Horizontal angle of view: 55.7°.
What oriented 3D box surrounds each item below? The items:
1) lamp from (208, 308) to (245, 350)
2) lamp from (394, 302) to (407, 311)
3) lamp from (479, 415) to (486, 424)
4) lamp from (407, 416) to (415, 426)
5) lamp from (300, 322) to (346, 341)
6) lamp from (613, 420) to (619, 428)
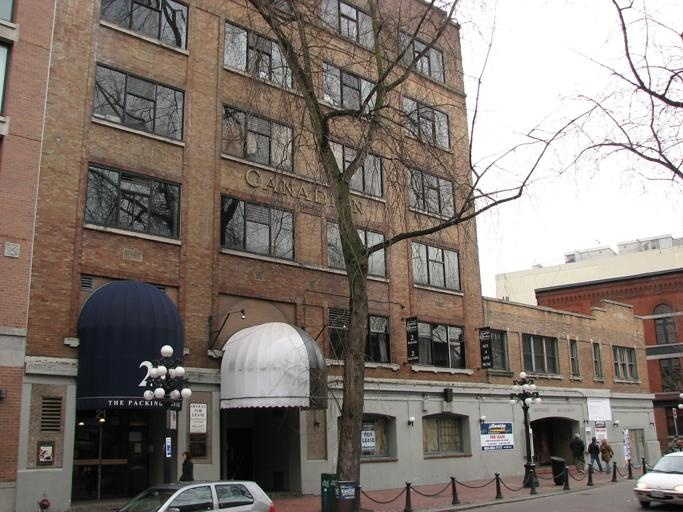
[{"bbox_3d":[-4.995,3.220,28.135,1.639,0.443,2.283,-2,-56,-19],"label":"lamp"},{"bbox_3d":[3.226,2.690,34.826,0.741,0.438,0.282,-6,-8,10],"label":"lamp"},{"bbox_3d":[8.187,9.282,37.126,0.546,0.480,0.239,12,-23,-36],"label":"lamp"},{"bbox_3d":[3.641,8.538,33.570,0.352,0.466,0.560,4,19,-4],"label":"lamp"},{"bbox_3d":[-0.625,3.606,31.520,0.334,1.078,2.615,-17,-24,39],"label":"lamp"},{"bbox_3d":[19.771,11.895,46.259,0.388,0.563,0.522,3,-6,16],"label":"lamp"}]
